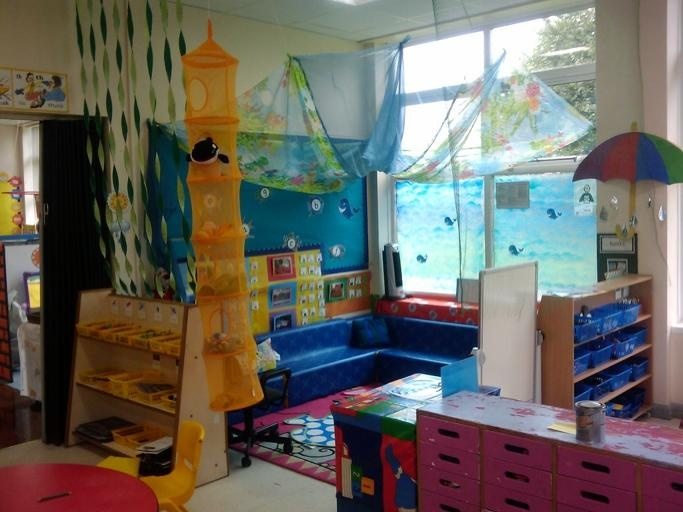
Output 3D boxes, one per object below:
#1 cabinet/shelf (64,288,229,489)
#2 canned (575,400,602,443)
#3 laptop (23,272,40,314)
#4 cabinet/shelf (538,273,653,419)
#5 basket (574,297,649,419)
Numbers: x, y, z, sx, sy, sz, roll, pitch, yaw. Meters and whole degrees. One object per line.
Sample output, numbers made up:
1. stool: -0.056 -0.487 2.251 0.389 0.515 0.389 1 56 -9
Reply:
1. cabinet/shelf: -1.622 1.127 4.881 1.346 1.330 0.504 -7 -4 42
2. canned: 1.416 0.951 3.143 0.167 0.194 0.172 -1 -5 7
3. laptop: -4.960 0.555 8.769 0.218 0.584 0.552 -4 4 -31
4. cabinet/shelf: 2.512 0.915 5.401 0.419 1.411 1.457 1 3 39
5. basket: 2.669 1.012 5.480 0.394 1.192 1.220 -1 5 38
